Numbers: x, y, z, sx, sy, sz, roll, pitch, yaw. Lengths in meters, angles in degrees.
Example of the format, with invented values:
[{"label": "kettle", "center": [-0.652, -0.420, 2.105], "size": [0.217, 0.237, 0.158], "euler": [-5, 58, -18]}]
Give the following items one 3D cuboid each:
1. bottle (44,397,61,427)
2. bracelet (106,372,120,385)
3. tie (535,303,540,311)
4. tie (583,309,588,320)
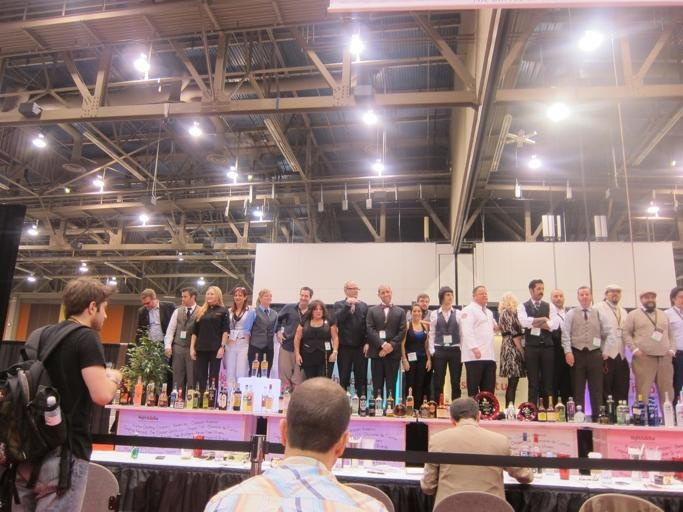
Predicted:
[{"label": "bottle", "center": [-2.028, 1.097, 3.858], "size": [0.118, 0.209, 0.066], "euler": [7, -13, -26]}, {"label": "bracelet", "center": [-1.695, 0.913, 4.085], "size": [0.086, 0.034, 0.064], "euler": [38, 23, -9]}, {"label": "tie", "center": [2.638, 0.692, 7.356], "size": [0.054, 0.080, 0.019], "euler": [-2, -41, 23]}, {"label": "tie", "center": [3.236, 0.782, 7.247], "size": [0.033, 0.133, 0.015], "euler": [-10, -36, 28]}]
